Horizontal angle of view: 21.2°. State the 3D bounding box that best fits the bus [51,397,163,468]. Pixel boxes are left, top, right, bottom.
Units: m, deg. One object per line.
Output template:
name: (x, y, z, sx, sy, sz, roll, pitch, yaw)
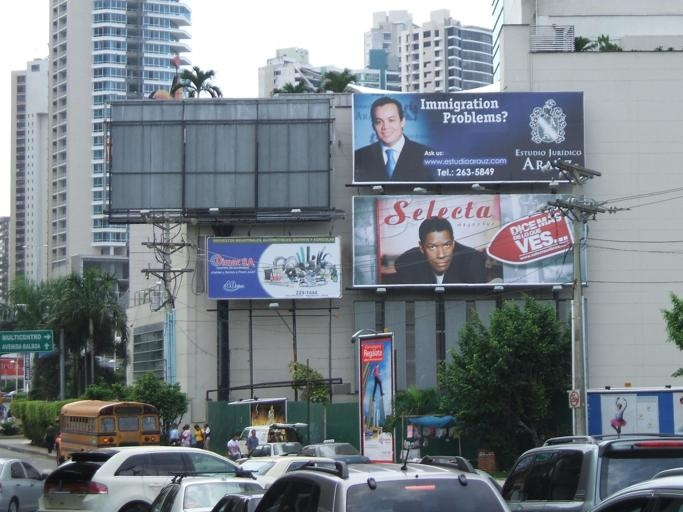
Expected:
bus: (-17.498, 13.532, 138.400, 6.931, 5.001, 5.496, 2, -8, -32)
